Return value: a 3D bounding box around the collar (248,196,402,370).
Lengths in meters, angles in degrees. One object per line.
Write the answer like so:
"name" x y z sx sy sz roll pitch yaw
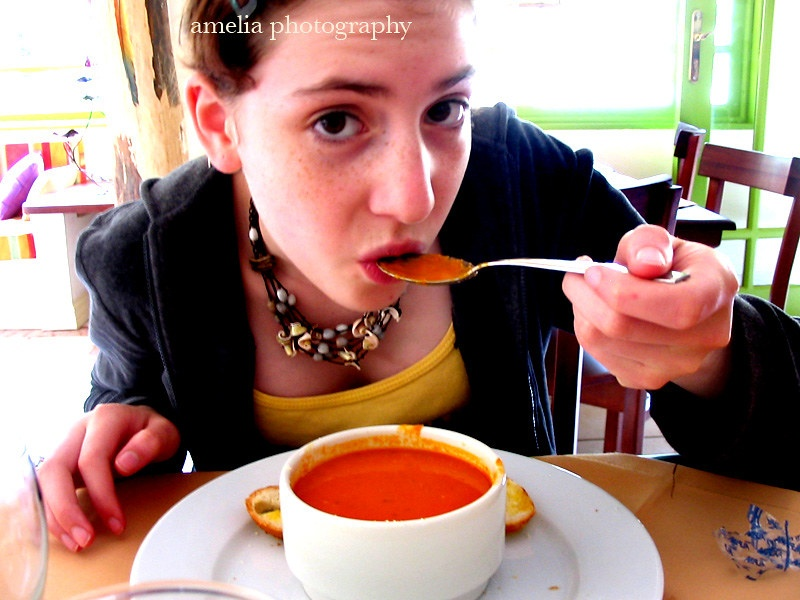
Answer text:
"collar" -0.198 0.009 1.399 0.278 0.112 0.354 -14 53 -25

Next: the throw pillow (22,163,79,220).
"throw pillow" -3.257 -0.957 6.037 0.600 0.237 0.189 -16 -14 26

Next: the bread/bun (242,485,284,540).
"bread/bun" -0.195 0.301 0.948 0.055 0.026 0.062 -10 43 -34

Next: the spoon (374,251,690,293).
"spoon" 0.204 -0.049 1.112 0.384 0.050 0.080 4 33 10

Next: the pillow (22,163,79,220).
"pillow" -3.149 -0.884 5.982 0.230 0.292 0.763 16 9 5
